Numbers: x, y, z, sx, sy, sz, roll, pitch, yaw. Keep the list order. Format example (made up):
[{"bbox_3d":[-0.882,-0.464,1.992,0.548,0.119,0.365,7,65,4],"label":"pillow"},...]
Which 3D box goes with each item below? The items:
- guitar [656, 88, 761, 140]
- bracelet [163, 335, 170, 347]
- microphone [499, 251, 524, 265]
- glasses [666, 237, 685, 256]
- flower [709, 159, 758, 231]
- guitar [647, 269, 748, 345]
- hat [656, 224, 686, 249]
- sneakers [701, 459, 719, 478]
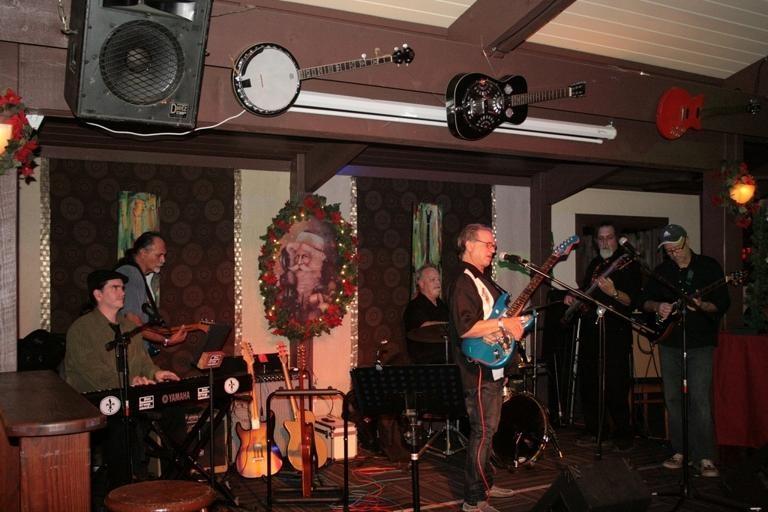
[{"bbox_3d":[3.598,-1.639,9.023,1.070,0.585,0.214,0,-5,-19],"label":"guitar"},{"bbox_3d":[-2.396,0.921,8.646,0.075,0.111,0.106,10,28,-1],"label":"bracelet"},{"bbox_3d":[1.414,0.014,8.817,0.283,0.094,0.101,12,-42,20],"label":"microphone"},{"bbox_3d":[3.097,-0.097,8.339,0.208,0.078,0.155,-32,9,-40],"label":"glasses"},{"bbox_3d":[4.078,-0.740,9.058,0.672,0.686,0.285,-30,19,-25],"label":"flower"},{"bbox_3d":[3.021,0.560,8.051,0.157,0.630,1.379,13,-30,-16],"label":"guitar"},{"bbox_3d":[3.080,-0.222,8.389,0.269,0.241,0.244,-3,-5,23],"label":"hat"},{"bbox_3d":[3.422,2.224,8.277,0.170,0.176,0.211,-3,-5,22],"label":"sneakers"}]
